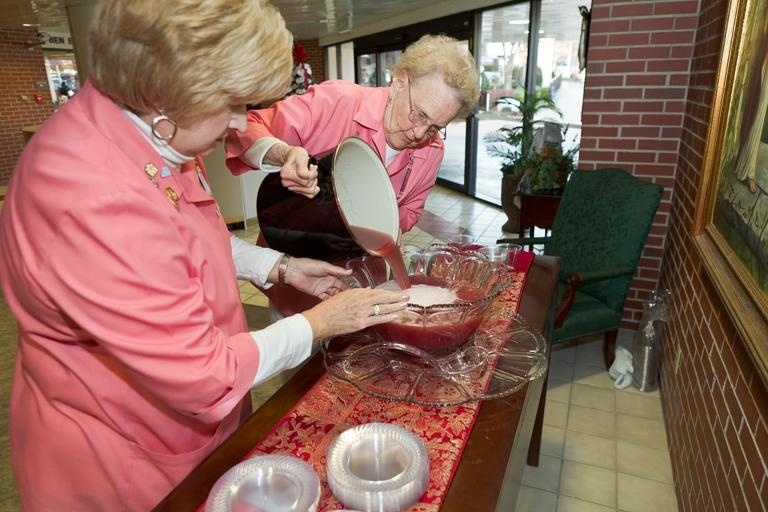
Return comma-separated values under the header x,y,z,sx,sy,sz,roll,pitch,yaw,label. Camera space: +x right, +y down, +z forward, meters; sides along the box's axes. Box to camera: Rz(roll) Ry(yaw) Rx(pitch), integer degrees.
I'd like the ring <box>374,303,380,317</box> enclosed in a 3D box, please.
x,y,z,sx,sy,sz,roll,pitch,yaw,label
-0.021,0.150,1.427,0.024,0.037,0.008,2,0,-6,ring

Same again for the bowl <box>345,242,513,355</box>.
x,y,z,sx,sy,sz,roll,pitch,yaw,label
0.135,0.159,1.651,0.495,0.259,0.514,-4,17,1,bowl

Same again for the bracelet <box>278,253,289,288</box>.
x,y,z,sx,sy,sz,roll,pitch,yaw,label
-0.353,0.052,1.780,0.027,0.082,0.069,-1,-15,3,bracelet

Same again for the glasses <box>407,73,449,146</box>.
x,y,z,sx,sy,sz,roll,pitch,yaw,label
0.162,-0.566,2.009,0.052,0.188,0.170,-24,-30,38,glasses

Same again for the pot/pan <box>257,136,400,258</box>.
x,y,z,sx,sy,sz,roll,pitch,yaw,label
-0.137,-0.224,1.826,0.327,0.389,0.454,2,18,36,pot/pan

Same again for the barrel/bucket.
x,y,z,sx,sy,sz,roll,pitch,yaw,label
-0.133,-0.220,1.821,0.332,0.394,0.460,2,17,37,barrel/bucket
